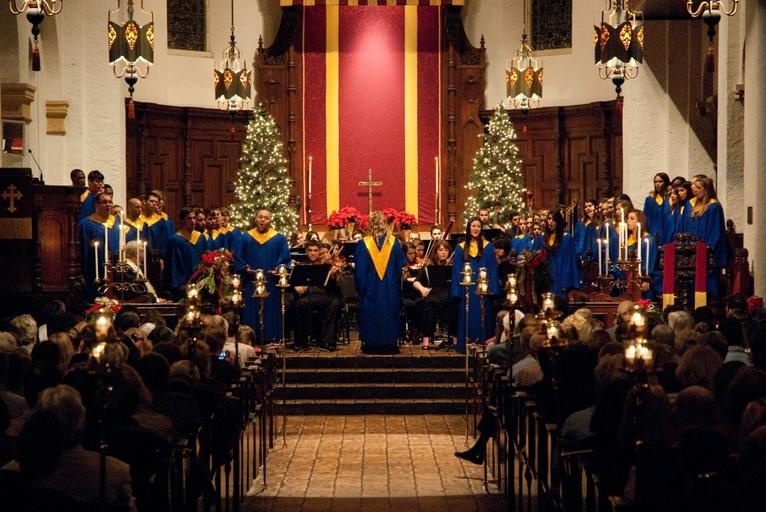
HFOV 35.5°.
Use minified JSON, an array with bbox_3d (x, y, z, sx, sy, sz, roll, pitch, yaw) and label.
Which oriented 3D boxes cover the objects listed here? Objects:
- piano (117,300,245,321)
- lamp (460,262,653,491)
[{"bbox_3d":[-2.675,0.709,15.462,1.317,0.291,0.720,-2,6,-5],"label":"piano"},{"bbox_3d":[2.189,1.565,16.131,1.956,3.029,2.340,4,-10,-17],"label":"lamp"}]
